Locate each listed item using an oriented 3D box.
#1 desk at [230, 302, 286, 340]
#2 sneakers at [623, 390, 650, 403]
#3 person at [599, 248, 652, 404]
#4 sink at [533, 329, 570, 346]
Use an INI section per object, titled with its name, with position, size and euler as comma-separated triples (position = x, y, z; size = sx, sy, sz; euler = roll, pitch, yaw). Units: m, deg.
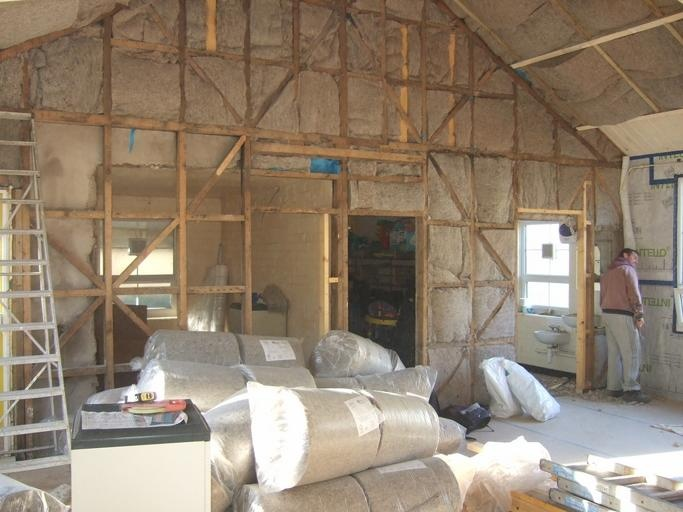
[desk]
position = -1.231, 0.955, 9.715
size = 0.498, 0.599, 0.882
euler = 5, -9, -43
[sneakers]
position = 3.817, 1.861, 8.804
size = 0.250, 0.132, 0.150
euler = -1, 1, 4
[person]
position = 3.694, 0.918, 8.963
size = 0.534, 2.012, 0.422
euler = -4, -4, 32
[sink]
position = 3.085, 1.218, 9.863
size = 0.238, 0.149, 0.329
euler = 3, -3, -28
